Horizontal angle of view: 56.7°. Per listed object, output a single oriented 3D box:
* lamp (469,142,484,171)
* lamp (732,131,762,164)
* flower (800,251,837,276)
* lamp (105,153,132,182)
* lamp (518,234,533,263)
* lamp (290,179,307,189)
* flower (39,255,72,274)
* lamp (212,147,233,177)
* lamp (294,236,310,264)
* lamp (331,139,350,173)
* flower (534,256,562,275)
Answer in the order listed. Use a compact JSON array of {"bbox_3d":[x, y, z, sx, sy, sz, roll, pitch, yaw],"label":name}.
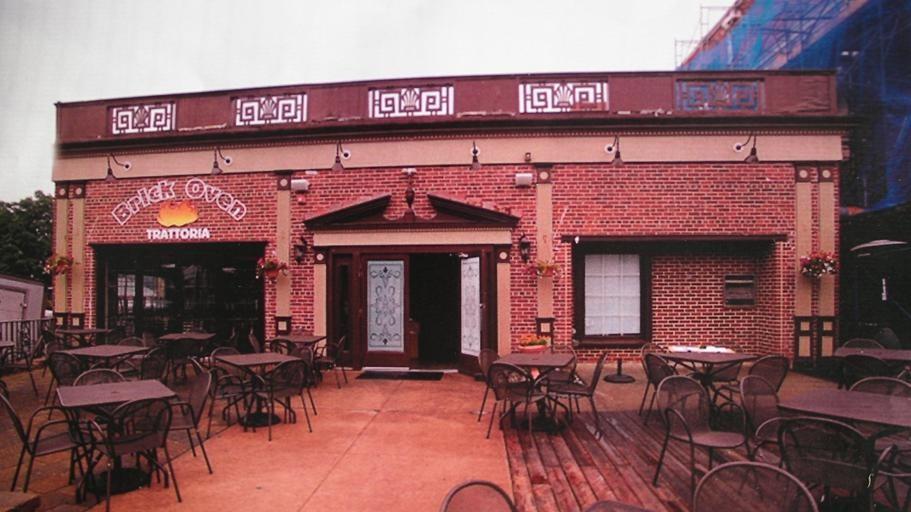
[{"bbox_3d":[0.754,-3.230,27.296,0.315,0.748,0.553,0,9,3],"label":"lamp"},{"bbox_3d":[9.299,-3.452,26.893,0.801,0.980,0.435,0,-5,-2],"label":"lamp"},{"bbox_3d":[11.551,0.265,27.069,0.881,0.687,0.877,-5,3,10],"label":"flower"},{"bbox_3d":[-11.112,-2.950,27.987,0.751,0.934,0.537,1,-5,-15],"label":"lamp"},{"bbox_3d":[2.210,-0.266,26.911,0.399,0.916,0.292,0,-5,4],"label":"lamp"},{"bbox_3d":[-5.034,-2.326,27.553,0.448,0.265,0.320,1,3,5],"label":"lamp"},{"bbox_3d":[-13.185,0.312,28.164,0.776,0.569,0.722,2,-5,-16],"label":"flower"},{"bbox_3d":[-7.639,-3.113,27.602,0.639,0.900,0.627,0,-5,-4],"label":"lamp"},{"bbox_3d":[-4.976,-0.190,27.434,0.457,0.887,0.272,0,-5,-5],"label":"lamp"},{"bbox_3d":[-3.698,-3.217,27.285,0.615,0.935,0.331,-2,4,1],"label":"lamp"},{"bbox_3d":[2.920,0.304,26.895,0.626,0.374,0.584,1,-7,-10],"label":"flower"}]
